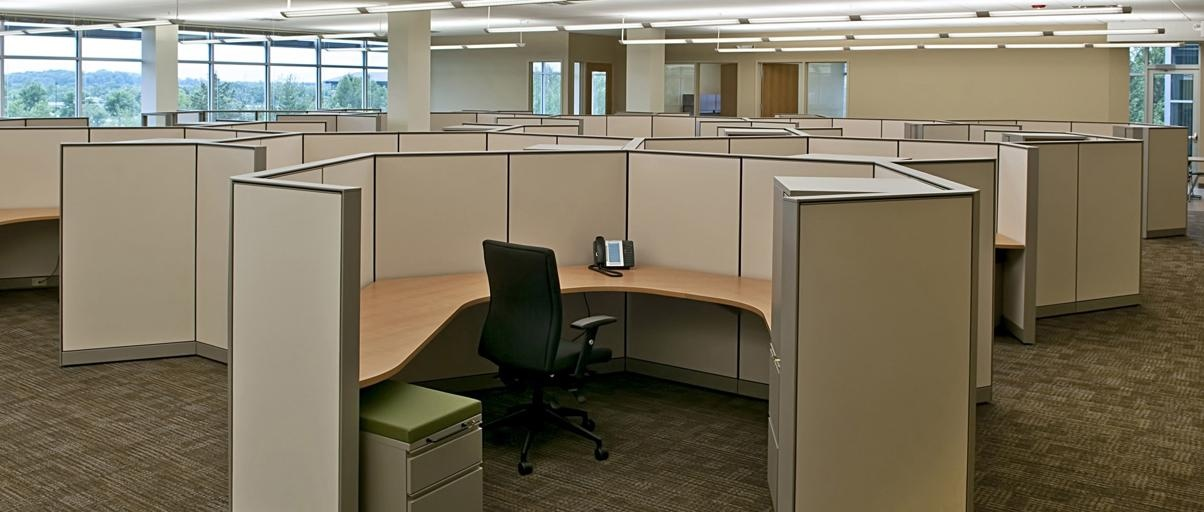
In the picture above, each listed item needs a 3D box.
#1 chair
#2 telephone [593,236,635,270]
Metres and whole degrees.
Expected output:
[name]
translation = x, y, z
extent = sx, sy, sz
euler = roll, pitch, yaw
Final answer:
[chair]
translation = -0.679, 1.042, 8.139
extent = 1.436, 2.416, 0.768
euler = -1, 15, -1
[telephone]
translation = 0.253, -0.052, 9.142
extent = 0.569, 0.399, 0.355
euler = 0, 4, 40
